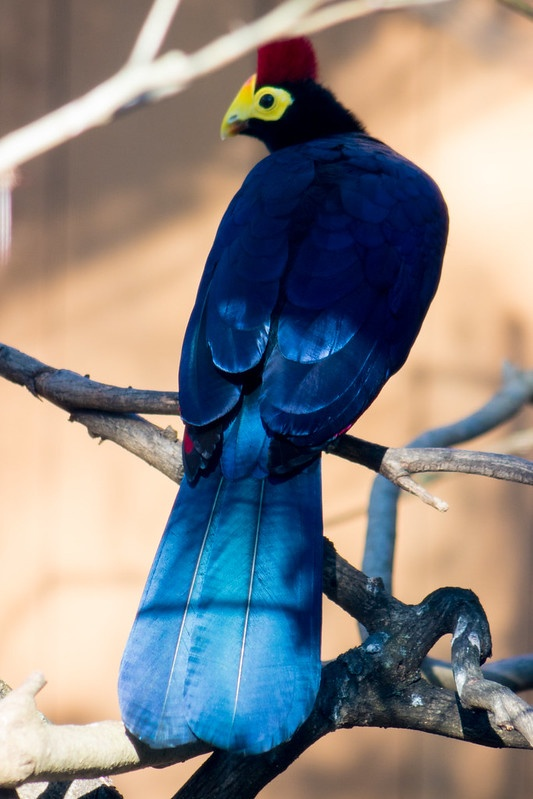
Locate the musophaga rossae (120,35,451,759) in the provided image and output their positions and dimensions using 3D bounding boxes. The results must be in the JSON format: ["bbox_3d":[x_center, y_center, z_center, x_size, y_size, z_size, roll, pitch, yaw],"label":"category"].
[{"bbox_3d":[0.035,-0.034,2.654,0.465,1.365,0.576,9,-16,26],"label":"musophaga rossae"}]
